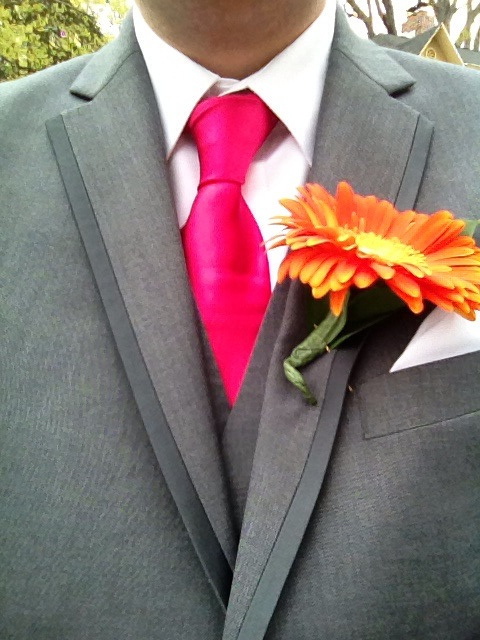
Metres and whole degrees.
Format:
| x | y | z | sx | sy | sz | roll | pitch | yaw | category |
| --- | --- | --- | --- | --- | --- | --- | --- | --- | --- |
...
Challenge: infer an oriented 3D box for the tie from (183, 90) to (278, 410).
| x | y | z | sx | sy | sz | roll | pitch | yaw | category |
| --- | --- | --- | --- | --- | --- | --- | --- | --- | --- |
| -0.004 | -0.156 | 0.959 | 0.134 | 0.074 | 0.522 | 4 | 55 | 5 | tie |
